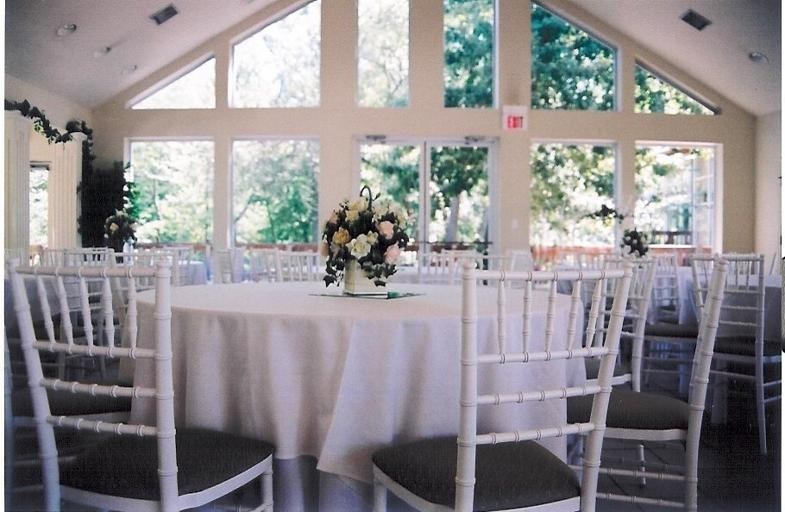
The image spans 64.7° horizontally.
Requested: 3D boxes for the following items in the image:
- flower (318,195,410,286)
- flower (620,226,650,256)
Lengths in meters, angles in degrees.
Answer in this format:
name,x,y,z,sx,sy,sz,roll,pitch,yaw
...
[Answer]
name,x,y,z,sx,sy,sz,roll,pitch,yaw
flower,-0.150,-0.095,3.620,0.458,0.537,0.493,4,6,41
flower,2.451,-0.155,6.313,0.244,0.360,0.119,22,37,39
